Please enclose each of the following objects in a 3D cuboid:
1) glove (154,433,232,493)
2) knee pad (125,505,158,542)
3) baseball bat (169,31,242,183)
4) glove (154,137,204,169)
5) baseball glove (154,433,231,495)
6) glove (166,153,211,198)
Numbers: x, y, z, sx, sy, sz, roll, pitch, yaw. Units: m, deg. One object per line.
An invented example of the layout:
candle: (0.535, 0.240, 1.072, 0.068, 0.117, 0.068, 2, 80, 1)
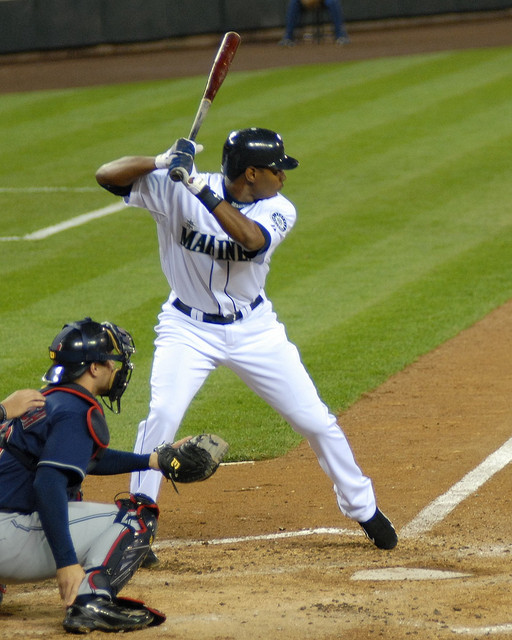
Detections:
glove: (-0.280, 0.622, 5.259, 0.346, 0.177, 0.235, -9, 41, 17)
knee pad: (-0.467, 0.871, 5.134, 0.118, 0.141, 0.153, -14, 10, 6)
baseball bat: (-0.253, -1.061, 5.825, 0.190, 0.145, 1.221, 17, 51, 8)
glove: (-0.324, -0.778, 5.504, 0.166, 0.075, 0.213, 6, 37, 22)
baseball glove: (-0.271, 0.633, 5.282, 0.278, 0.163, 0.345, 15, 36, 23)
glove: (-0.294, -0.660, 5.297, 0.083, 0.187, 0.179, -33, 37, 18)
